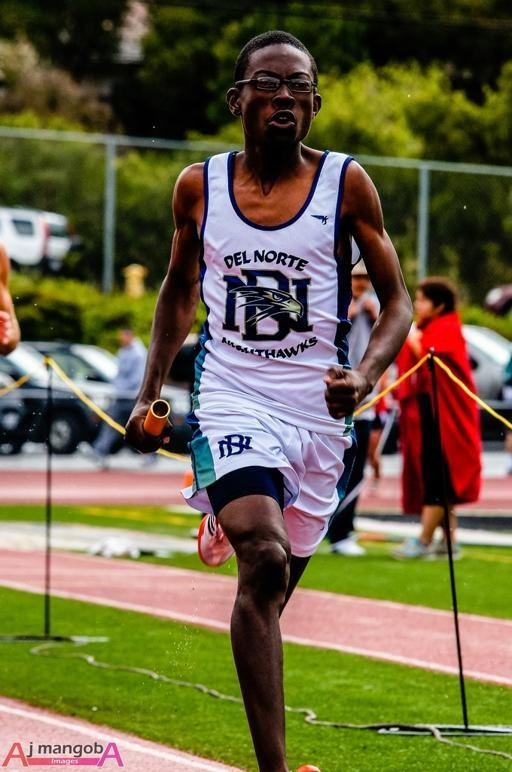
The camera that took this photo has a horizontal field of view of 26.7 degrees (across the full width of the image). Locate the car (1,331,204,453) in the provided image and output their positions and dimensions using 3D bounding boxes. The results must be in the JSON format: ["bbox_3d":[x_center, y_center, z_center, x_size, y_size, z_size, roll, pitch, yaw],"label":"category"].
[{"bbox_3d":[-1.473,0.133,12.374,2.676,1.073,1.253,3,2,15],"label":"car"}]

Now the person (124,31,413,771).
[{"bbox_3d":[-0.083,-0.070,2.754,0.797,1.716,0.974,5,9,21],"label":"person"}]

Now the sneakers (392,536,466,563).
[{"bbox_3d":[1.096,1.087,7.106,0.547,0.194,0.168,2,-8,1],"label":"sneakers"}]

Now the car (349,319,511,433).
[{"bbox_3d":[2.244,-0.149,14.931,2.773,1.226,1.464,2,-6,-2],"label":"car"}]
